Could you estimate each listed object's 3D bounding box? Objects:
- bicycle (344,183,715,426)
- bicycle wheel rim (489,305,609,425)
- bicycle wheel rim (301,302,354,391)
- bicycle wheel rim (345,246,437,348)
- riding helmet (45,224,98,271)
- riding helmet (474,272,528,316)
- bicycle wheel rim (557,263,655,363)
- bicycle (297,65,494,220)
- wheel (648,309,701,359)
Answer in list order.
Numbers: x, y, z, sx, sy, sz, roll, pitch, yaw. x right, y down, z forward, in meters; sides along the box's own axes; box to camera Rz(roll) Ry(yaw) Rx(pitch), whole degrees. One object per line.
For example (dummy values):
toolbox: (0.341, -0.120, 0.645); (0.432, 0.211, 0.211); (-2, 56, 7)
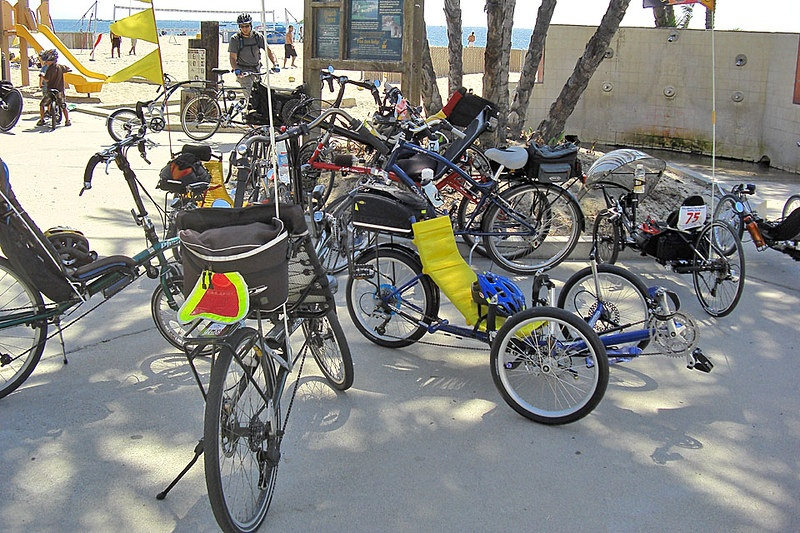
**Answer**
bicycle: (0.844, 0.241, 4.730); (2.894, 1.433, 1.600); (6, 14, 25)
bicycle wheel rim: (1.070, 0.720, 4.108); (0.791, 0.816, 0.143); (-1, 12, 29)
bicycle wheel rim: (-0.559, 0.626, 4.276); (0.165, 0.642, 0.631); (-22, 11, -18)
bicycle wheel rim: (-0.075, 0.287, 4.942); (0.681, 0.723, 0.206); (-19, 8, 16)
riding helmet: (-2.495, -0.141, 4.344); (0.274, 0.354, 0.332); (16, 52, -35)
riding helmet: (0.778, 0.199, 4.394); (0.249, 0.113, 0.389); (-22, 55, -32)
bicycle wheel rim: (1.652, 0.394, 4.537); (0.817, 0.900, 0.151); (-1, 15, 27)
bicycle: (-0.303, -1.532, 6.982); (2.850, 1.836, 1.503); (1, 18, -7)
wheel: (2.034, 0.503, 4.229); (0.412, 0.422, 0.122); (5, 8, 21)
